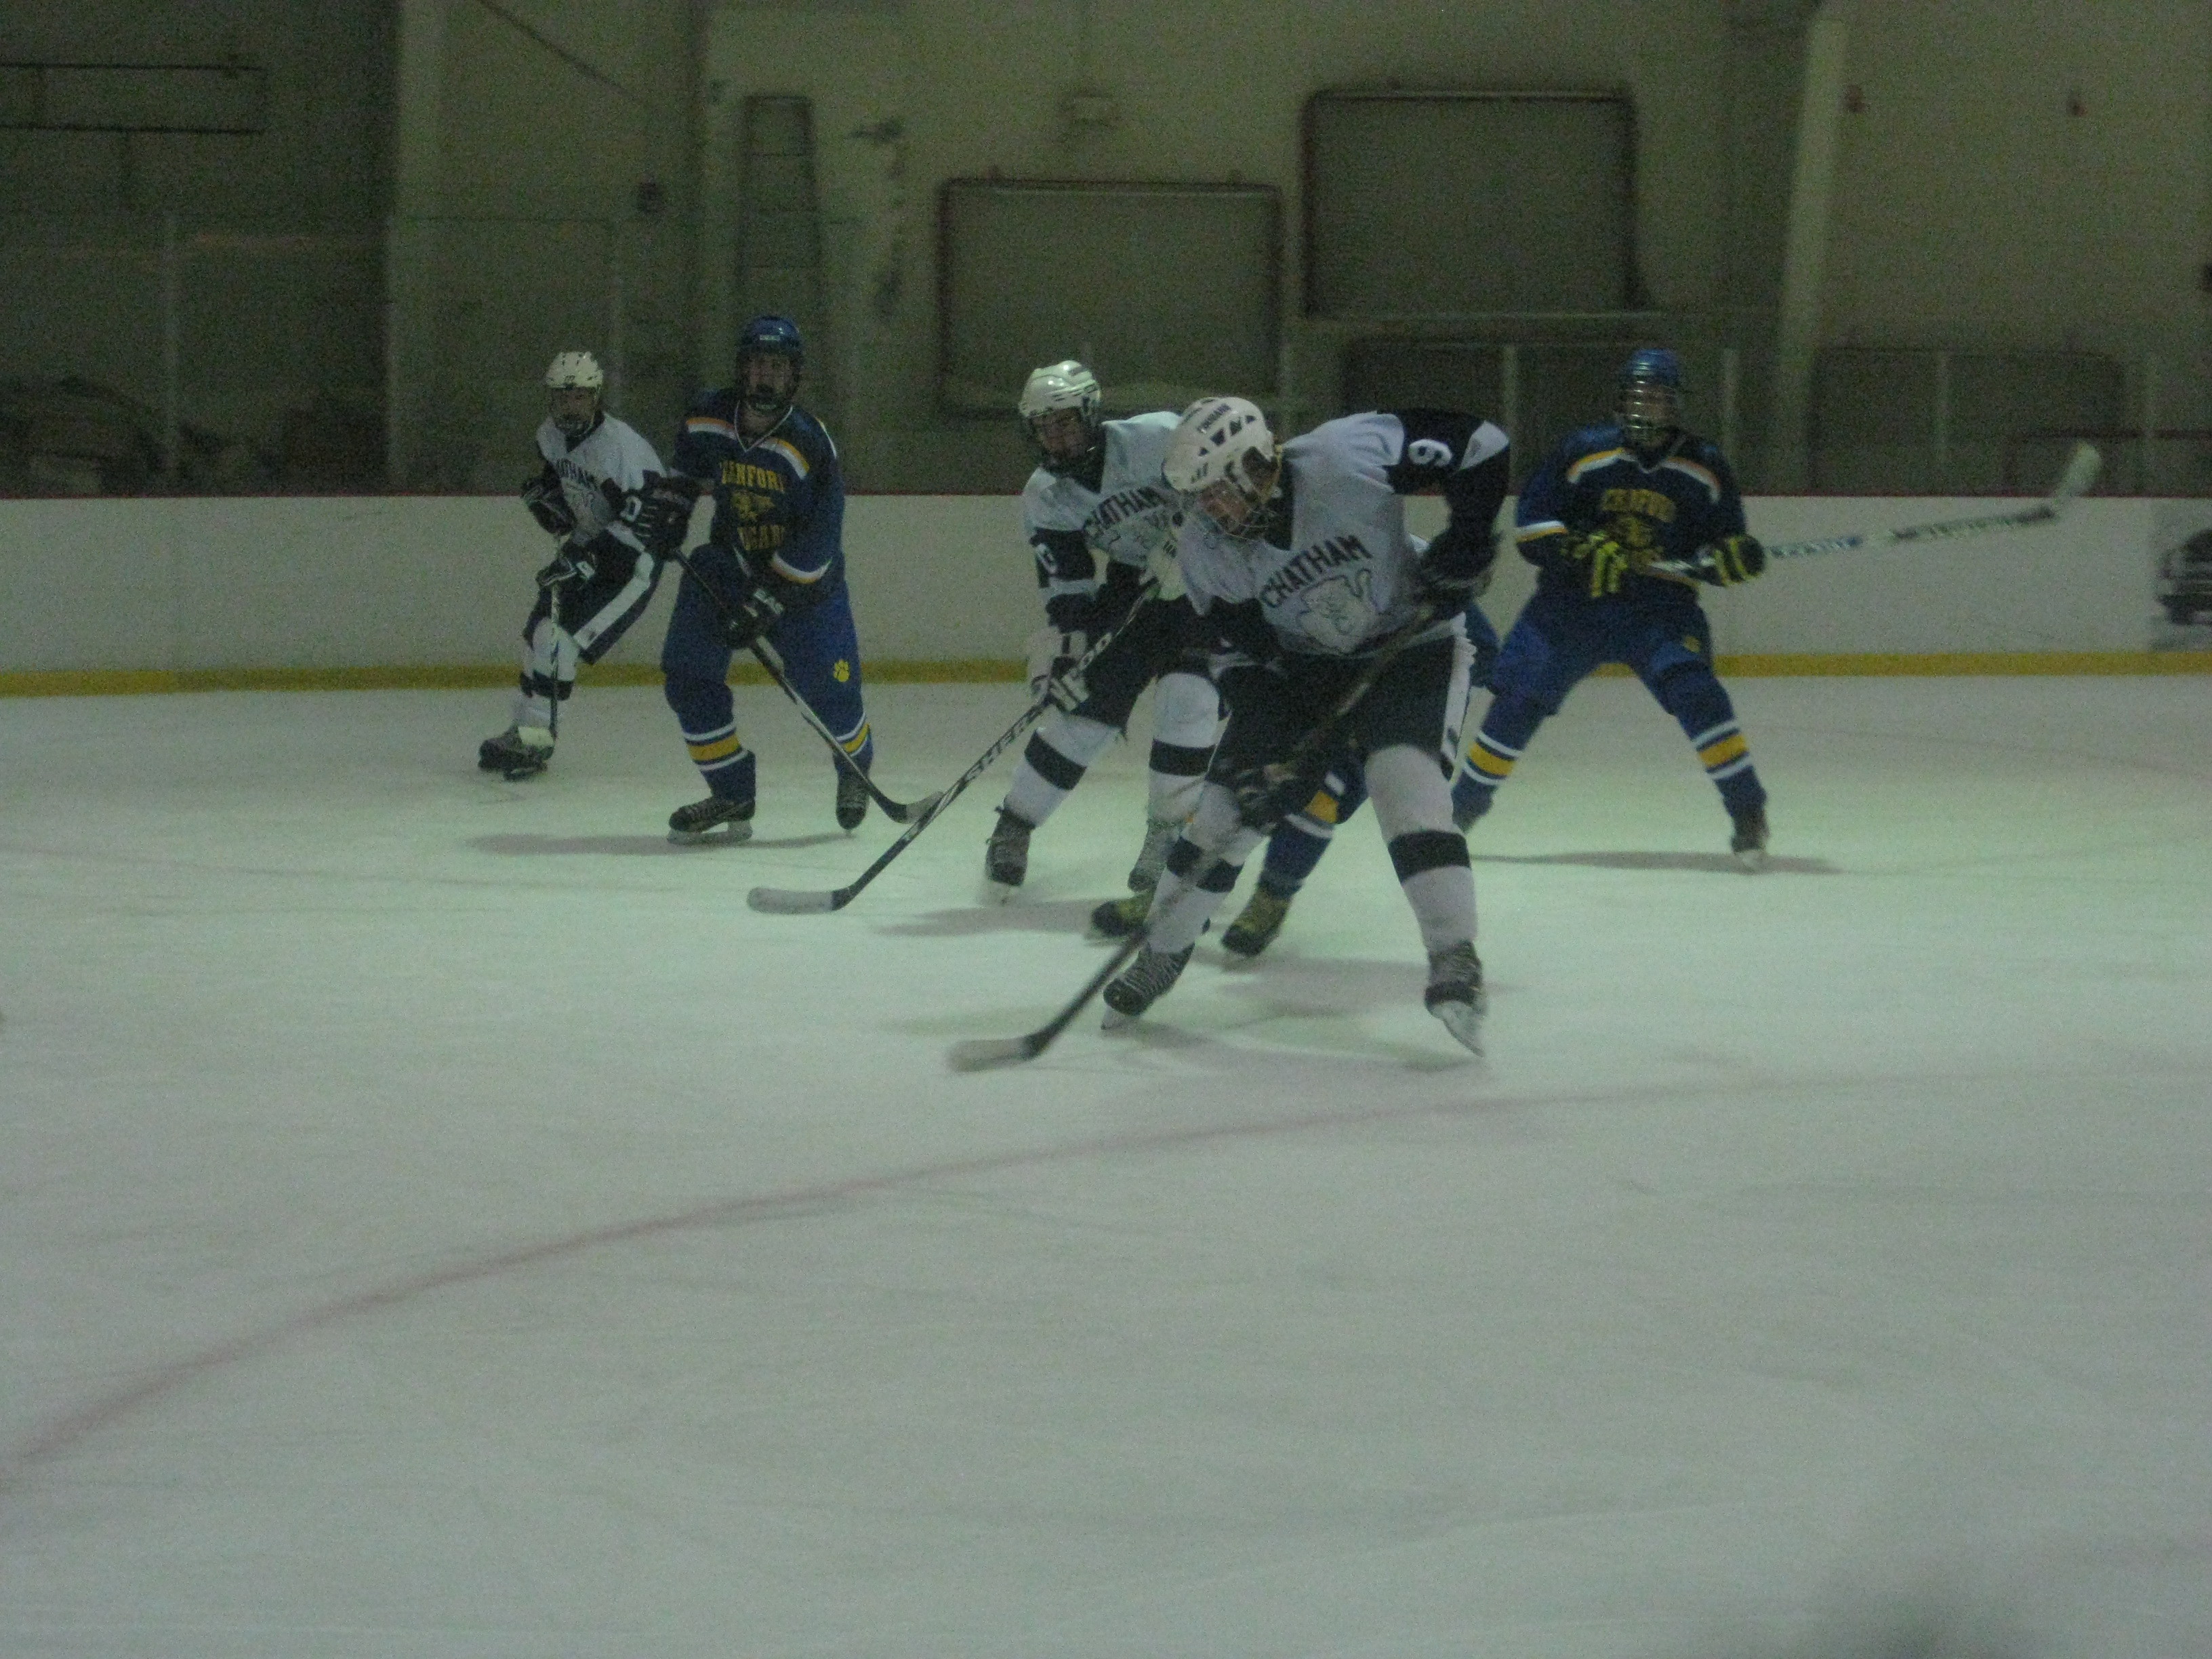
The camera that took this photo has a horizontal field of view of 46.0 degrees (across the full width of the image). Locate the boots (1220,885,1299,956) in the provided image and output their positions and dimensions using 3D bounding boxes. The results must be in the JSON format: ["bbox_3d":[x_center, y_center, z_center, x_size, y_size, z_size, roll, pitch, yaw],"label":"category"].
[{"bbox_3d":[0.323,0.191,5.353,0.045,0.138,0.097,27,-27,24],"label":"boots"}]

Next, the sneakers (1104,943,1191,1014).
[{"bbox_3d":[0.085,0.285,4.714,0.161,0.062,0.092,-37,18,-16],"label":"sneakers"}]

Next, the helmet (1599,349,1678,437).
[{"bbox_3d":[1.369,-1.090,6.517,0.145,0.223,0.233,2,11,9],"label":"helmet"}]

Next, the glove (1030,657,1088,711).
[{"bbox_3d":[-0.086,-0.332,5.903,0.080,0.049,0.109,-7,22,15],"label":"glove"}]

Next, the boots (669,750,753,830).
[{"bbox_3d":[-0.977,-0.106,6.719,0.271,0.247,0.131,1,21,-9],"label":"boots"}]

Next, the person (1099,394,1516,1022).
[{"bbox_3d":[0.351,-0.190,4.581,0.682,1.115,0.568,1,11,7],"label":"person"}]

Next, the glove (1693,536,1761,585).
[{"bbox_3d":[1.563,-0.667,6.504,0.182,0.101,0.070,-11,9,16],"label":"glove"}]

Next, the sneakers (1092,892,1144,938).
[{"bbox_3d":[0.037,0.182,5.562,0.069,0.084,0.116,-2,-6,7],"label":"sneakers"}]

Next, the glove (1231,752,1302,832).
[{"bbox_3d":[0.283,-0.069,4.619,0.043,0.129,0.091,31,14,-34],"label":"glove"}]

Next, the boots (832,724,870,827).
[{"bbox_3d":[-0.648,-0.136,6.763,0.083,0.265,0.107,1,11,6],"label":"boots"}]

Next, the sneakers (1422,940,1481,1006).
[{"bbox_3d":[0.598,0.235,4.441,0.093,0.103,0.174,1,11,6],"label":"sneakers"}]

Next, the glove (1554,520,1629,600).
[{"bbox_3d":[1.206,-0.638,6.349,0.148,0.163,0.100,2,11,9],"label":"glove"}]

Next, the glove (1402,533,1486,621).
[{"bbox_3d":[0.627,-0.446,4.626,0.147,0.121,0.127,2,0,-24],"label":"glove"}]

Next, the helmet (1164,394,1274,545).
[{"bbox_3d":[0.211,-0.616,4.438,0.185,0.227,0.215,1,11,3],"label":"helmet"}]

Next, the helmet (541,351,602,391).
[{"bbox_3d":[-1.527,-1.320,7.542,0.138,0.106,0.193,-3,11,-19],"label":"helmet"}]

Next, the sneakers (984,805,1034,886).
[{"bbox_3d":[-0.214,0.046,5.931,0.075,0.213,0.090,11,-37,-18],"label":"sneakers"}]
